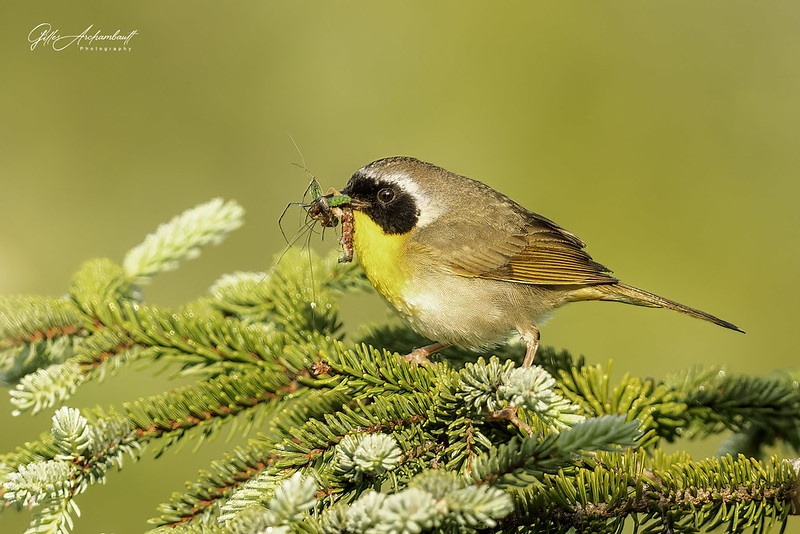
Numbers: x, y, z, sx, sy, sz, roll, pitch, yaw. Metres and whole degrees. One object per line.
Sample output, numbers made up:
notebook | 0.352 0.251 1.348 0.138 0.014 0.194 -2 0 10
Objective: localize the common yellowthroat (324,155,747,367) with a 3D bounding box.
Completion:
common yellowthroat | 0.781 0.041 7.841 3.125 1.092 1.638 4 -89 5
